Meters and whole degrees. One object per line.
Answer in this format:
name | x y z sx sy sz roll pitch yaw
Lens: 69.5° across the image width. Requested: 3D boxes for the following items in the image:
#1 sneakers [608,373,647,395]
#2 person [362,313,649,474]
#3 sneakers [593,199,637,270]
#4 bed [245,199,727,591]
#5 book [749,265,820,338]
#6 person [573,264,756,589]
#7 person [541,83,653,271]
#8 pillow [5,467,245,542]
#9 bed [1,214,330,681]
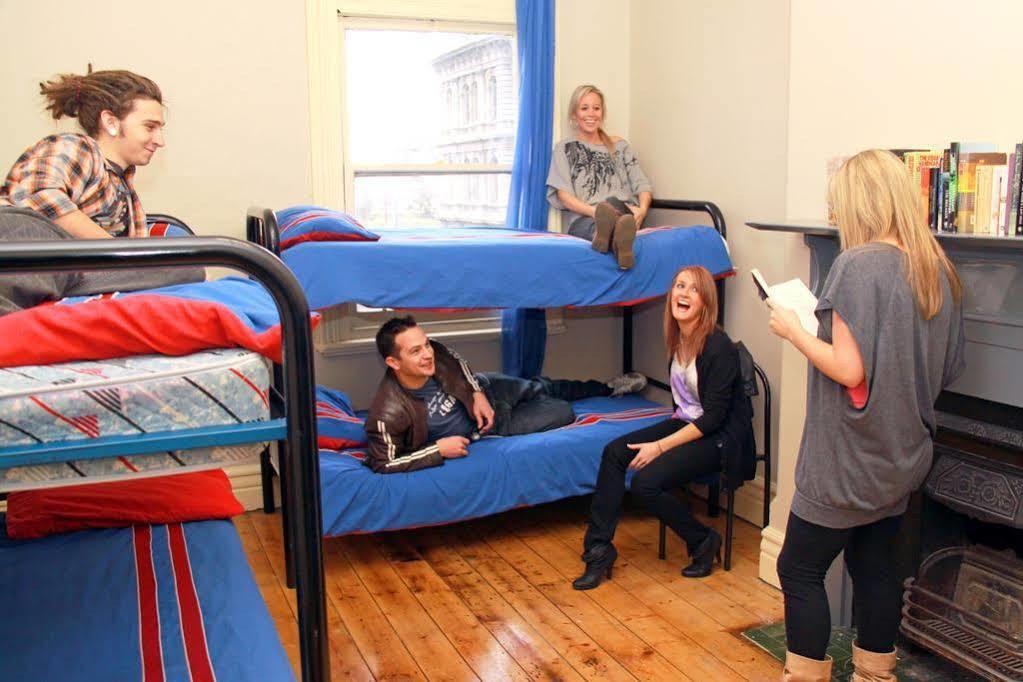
sneakers | 0.755 0.264 4.866 0.267 0.109 0.114 -14 49 -8
person | -0.076 0.284 4.065 1.329 0.657 0.653 -4 42 -7
sneakers | 0.578 -0.603 4.117 0.246 0.383 0.139 2 16 6
bed | -0.471 0.269 5.425 2.485 1.743 1.150 -5 2 -22
book | 0.959 -0.150 2.747 0.196 0.113 0.333 -17 62 -38
person | 0.810 0.401 3.775 0.935 1.534 0.639 -2 15 -4
person | 0.560 -1.058 4.591 0.707 1.015 1.378 -4 21 2
pillow | -1.416 0.589 2.679 0.601 0.095 0.373 -1 1 -24
bed | -0.832 0.196 2.237 0.999 0.955 1.068 -4 8 -29
